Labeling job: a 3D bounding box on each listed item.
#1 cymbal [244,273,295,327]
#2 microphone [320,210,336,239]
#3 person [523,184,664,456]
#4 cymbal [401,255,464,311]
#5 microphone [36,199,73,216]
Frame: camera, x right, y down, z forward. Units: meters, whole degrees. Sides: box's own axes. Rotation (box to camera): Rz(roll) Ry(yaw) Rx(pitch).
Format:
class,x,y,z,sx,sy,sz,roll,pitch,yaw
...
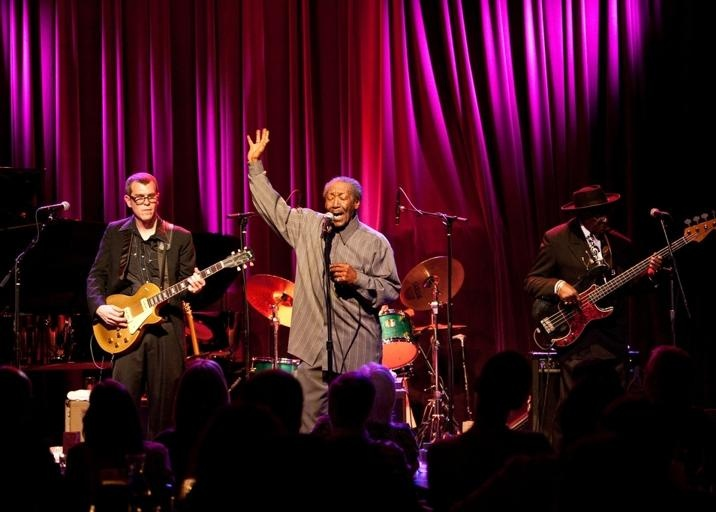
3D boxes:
class,x,y,z,sx,sy,sz,roll,pitch,yaw
cymbal,-0.797,0.366,6.302,0.453,0.251,0.518,0,-44,19
microphone,-0.205,-0.217,4.739,0.095,0.204,0.159,-2,-9,-2
person,1.962,0.609,5.769,0.924,2.397,0.713,0,10,18
cymbal,0.678,0.248,6.323,0.523,0.428,0.459,4,-11,-31
microphone,-2.771,-0.445,6.285,0.373,0.115,0.108,-23,9,-32
